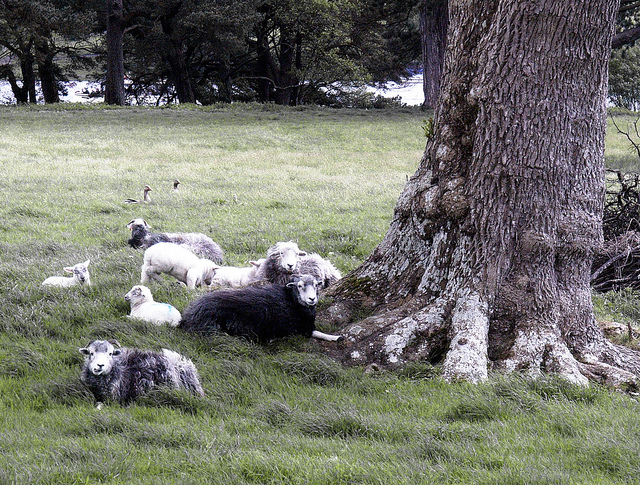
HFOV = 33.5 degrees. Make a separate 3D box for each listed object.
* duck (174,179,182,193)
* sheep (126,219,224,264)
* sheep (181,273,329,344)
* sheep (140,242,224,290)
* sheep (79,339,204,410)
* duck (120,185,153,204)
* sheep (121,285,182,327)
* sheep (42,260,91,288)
[{"bbox_3d":[-4.504,-1.676,32.512,0.281,0.545,0.184,0,33,2],"label":"duck"},{"bbox_3d":[-3.589,-0.018,25.286,2.067,1.194,1.122,3,7,6],"label":"sheep"},{"bbox_3d":[-1.496,1.658,21.820,2.430,1.280,1.354,-8,10,-13],"label":"sheep"},{"bbox_3d":[-3.001,0.602,23.817,1.586,0.969,0.575,13,10,17],"label":"sheep"},{"bbox_3d":[-3.563,2.538,20.467,1.944,1.031,1.287,3,8,-1],"label":"sheep"},{"bbox_3d":[-5.430,-1.316,30.494,0.952,0.803,0.370,-1,9,-9],"label":"duck"},{"bbox_3d":[-3.553,1.387,21.866,1.238,0.817,0.637,16,11,23],"label":"sheep"},{"bbox_3d":[-5.687,0.756,23.070,0.955,0.788,0.503,-10,-10,26],"label":"sheep"}]
